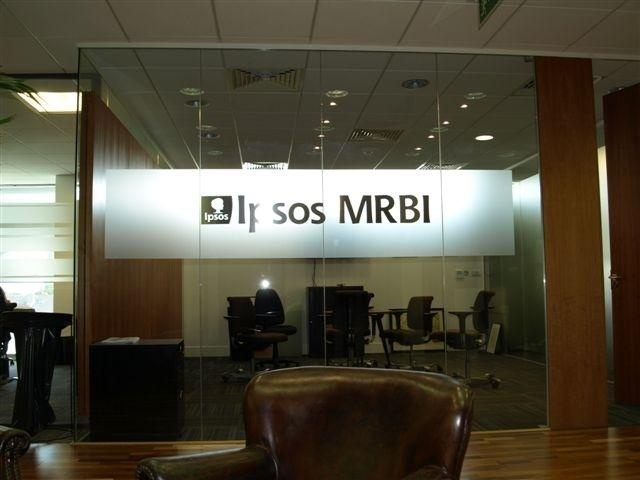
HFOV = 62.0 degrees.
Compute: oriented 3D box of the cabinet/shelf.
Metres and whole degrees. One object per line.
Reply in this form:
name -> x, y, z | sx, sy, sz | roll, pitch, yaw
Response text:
cabinet/shelf -> -1.639, 1.339, 4.960 | 0.807, 0.880, 0.566 | 0, 4, -4
